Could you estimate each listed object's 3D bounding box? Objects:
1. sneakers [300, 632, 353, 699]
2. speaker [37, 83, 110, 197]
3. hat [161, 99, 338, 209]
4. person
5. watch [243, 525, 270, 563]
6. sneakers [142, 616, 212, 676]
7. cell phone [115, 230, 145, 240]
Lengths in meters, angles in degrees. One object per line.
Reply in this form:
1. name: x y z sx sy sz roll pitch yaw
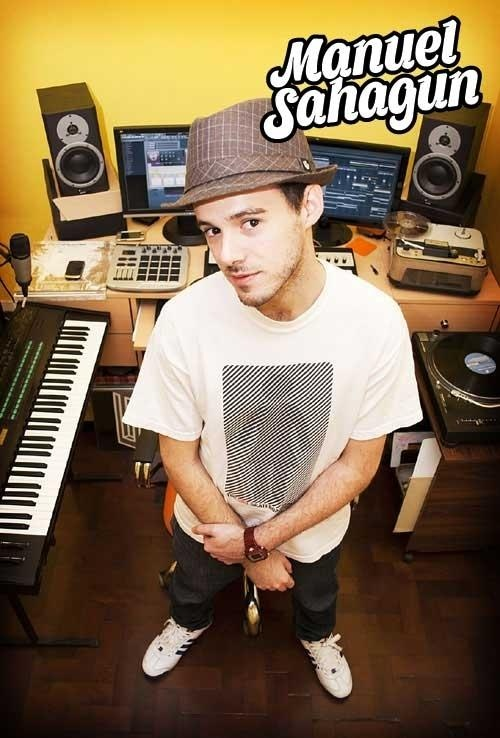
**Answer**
1. sneakers: 0.262 1.046 1.942 0.110 0.113 0.286 -19 41 -3
2. speaker: -0.815 -1.049 2.487 0.244 0.433 0.230 -13 39 -14
3. hat: 0.010 -0.305 0.908 0.237 0.126 0.209 -35 28 -28
4. person: 0.039 0.340 1.425 0.760 1.909 0.287 -1 38 1
5. watch: 0.020 0.458 1.413 0.058 0.093 0.084 -10 45 14
6. sneakers: -0.262 1.028 1.958 0.089 0.107 0.256 36 52 14
7. cell phone: -0.606 -0.660 2.692 0.099 0.018 0.062 -4 48 -1
